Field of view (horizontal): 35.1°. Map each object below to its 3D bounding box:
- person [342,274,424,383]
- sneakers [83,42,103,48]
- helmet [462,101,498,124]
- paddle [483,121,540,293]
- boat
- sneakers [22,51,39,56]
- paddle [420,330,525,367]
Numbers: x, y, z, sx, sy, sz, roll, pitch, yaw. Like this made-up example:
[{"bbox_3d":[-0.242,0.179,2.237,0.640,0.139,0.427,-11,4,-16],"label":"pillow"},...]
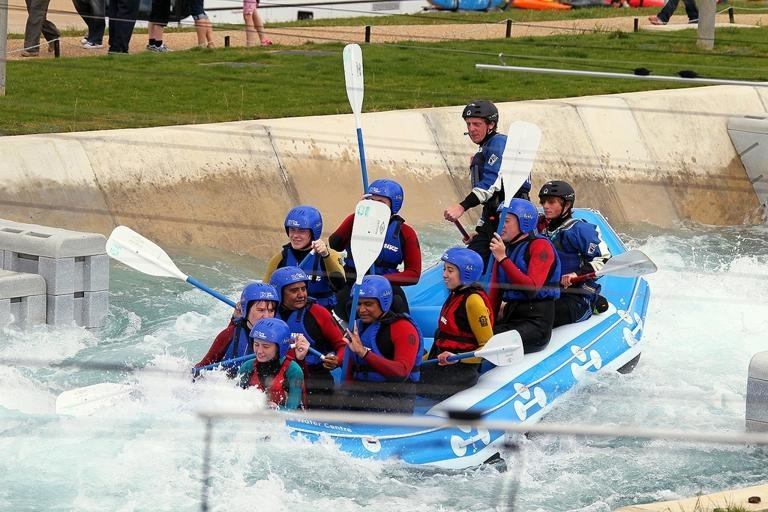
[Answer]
[{"bbox_3d":[-0.027,0.641,10.456,0.660,0.904,0.330,-2,14,-2],"label":"person"},{"bbox_3d":[-4.450,-3.174,18.610,0.280,0.110,0.093,6,5,-28],"label":"sneakers"},{"bbox_3d":[1.018,-1.484,12.588,0.323,0.213,0.216,-7,26,-21],"label":"helmet"},{"bbox_3d":[1.251,-0.706,11.817,0.403,1.747,0.084,6,-30,18],"label":"paddle"},{"bbox_3d":[1.141,0.750,11.413,1.881,1.008,3.788,16,31,36],"label":"boat"},{"bbox_3d":[-5.222,-2.939,17.870,0.168,0.051,0.168,1,0,18],"label":"sneakers"},{"bbox_3d":[0.751,0.883,10.836,1.087,0.279,0.082,-12,-9,39],"label":"paddle"}]
